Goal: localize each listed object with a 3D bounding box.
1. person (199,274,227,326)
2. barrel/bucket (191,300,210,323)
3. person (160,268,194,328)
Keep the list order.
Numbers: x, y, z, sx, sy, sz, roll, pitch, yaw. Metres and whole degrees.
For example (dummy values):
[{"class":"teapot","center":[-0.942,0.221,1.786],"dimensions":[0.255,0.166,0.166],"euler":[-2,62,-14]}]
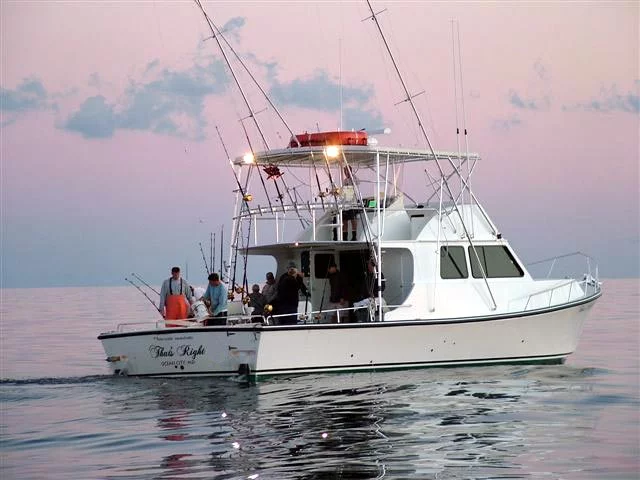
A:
[{"class":"person","center":[-2.315,1.276,21.996],"dimensions":[0.560,1.174,2.094],"euler":[-3,9,-6]},{"class":"barrel/bucket","center":[-2.646,1.554,22.127],"dimensions":[0.384,0.473,0.491],"euler":[-8,7,-31]},{"class":"person","center":[-3.113,1.176,21.793],"dimensions":[0.774,1.143,0.741],"euler":[-5,10,-18]}]
